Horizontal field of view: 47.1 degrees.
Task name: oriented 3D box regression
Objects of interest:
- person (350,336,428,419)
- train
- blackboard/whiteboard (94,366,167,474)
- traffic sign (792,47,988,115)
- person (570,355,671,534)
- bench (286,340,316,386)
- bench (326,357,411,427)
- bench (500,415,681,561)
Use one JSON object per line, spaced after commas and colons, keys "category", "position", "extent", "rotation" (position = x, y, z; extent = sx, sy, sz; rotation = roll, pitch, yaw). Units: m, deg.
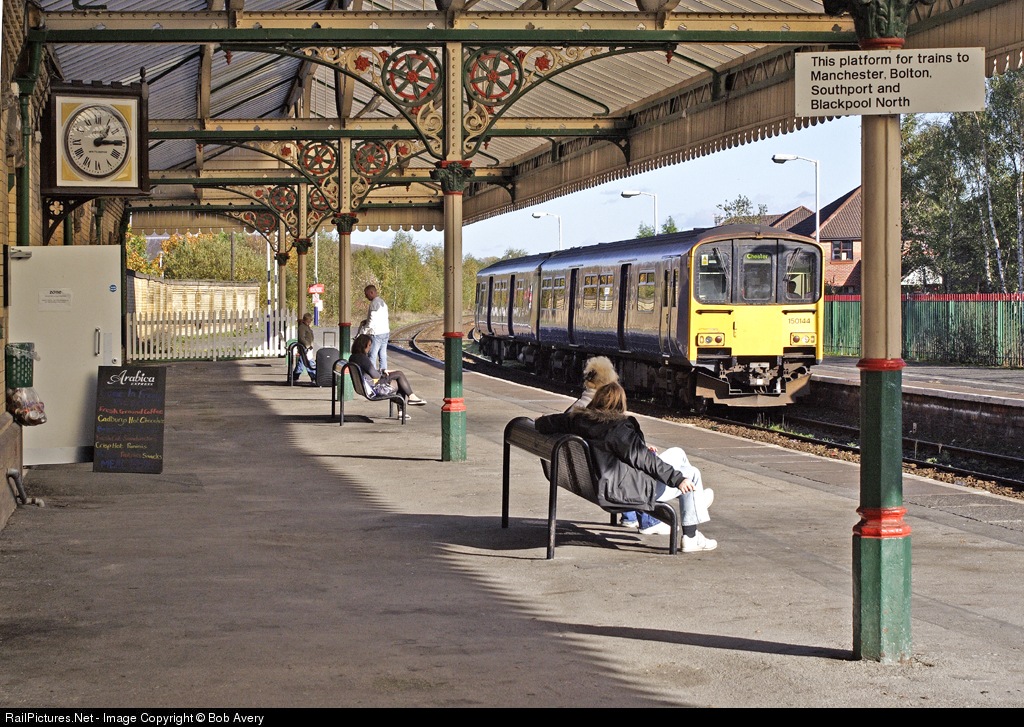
{"category": "person", "position": [-1.989, 0.079, 17.583], "extent": [0.954, 1.030, 0.633], "rotation": [-2, 3, -26]}
{"category": "train", "position": [2.296, -1.400, 32.242], "extent": [2.788, 3.841, 21.957], "rotation": [-1, 4, -13]}
{"category": "blackboard/whiteboard", "position": [-4.090, 0.612, 12.524], "extent": [0.761, 1.176, 0.321], "rotation": [-1, 3, -12]}
{"category": "traffic sign", "position": [2.319, -1.726, 7.174], "extent": [1.204, 0.450, 0.285], "rotation": [0, 3, -1]}
{"category": "person", "position": [0.957, 0.719, 10.208], "extent": [0.786, 1.609, 0.847], "rotation": [4, 9, -6]}
{"category": "bench", "position": [-4.708, -0.023, 26.154], "extent": [0.868, 1.210, 0.808], "rotation": [0, 6, -11]}
{"category": "bench", "position": [-2.206, 0.458, 18.175], "extent": [0.926, 0.895, 1.709], "rotation": [0, -2, -11]}
{"category": "bench", "position": [0.632, 1.059, 10.298], "extent": [1.085, 1.066, 2.117], "rotation": [-2, 1, -9]}
